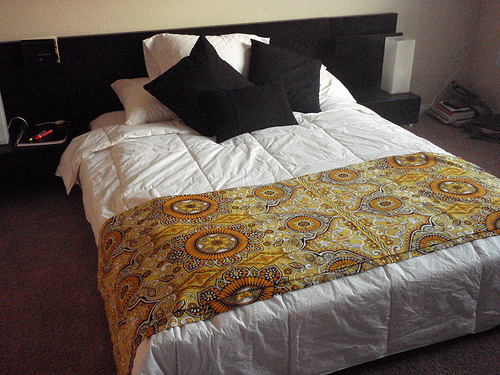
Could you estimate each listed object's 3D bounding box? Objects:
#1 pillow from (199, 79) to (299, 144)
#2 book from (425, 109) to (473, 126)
[{"bbox_3d":[-0.014,-0.527,2.576,0.655,0.389,0.185,-11,-2,-23],"label":"pillow"},{"bbox_3d":[2.042,-0.726,4.087,0.248,0.056,0.242,-1,27,-5],"label":"book"}]
